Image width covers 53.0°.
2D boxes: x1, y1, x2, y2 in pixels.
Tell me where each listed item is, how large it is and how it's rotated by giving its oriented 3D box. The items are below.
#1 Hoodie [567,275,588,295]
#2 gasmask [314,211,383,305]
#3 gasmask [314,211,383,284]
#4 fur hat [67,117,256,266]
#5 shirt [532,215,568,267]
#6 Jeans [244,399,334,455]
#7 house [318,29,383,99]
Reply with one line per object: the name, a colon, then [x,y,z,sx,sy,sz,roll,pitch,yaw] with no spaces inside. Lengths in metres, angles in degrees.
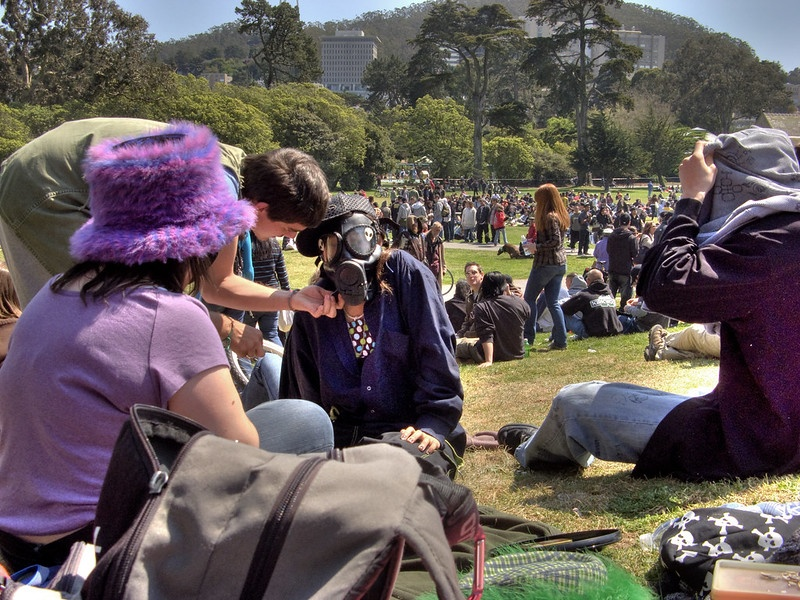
Hoodie: [2.688,-0.217,12.189,0.236,0.203,0.318,-7,-18,2]
gasmask: [-0.212,-0.197,3.817,0.298,0.428,0.413,-3,4,7]
gasmask: [-0.236,-0.322,3.980,0.330,0.285,0.359,-14,13,-22]
fur hat: [-0.812,-0.334,2.731,0.476,0.301,0.490,-20,12,-5]
shirt: [1.945,-0.701,10.553,0.492,0.856,0.818,0,2,10]
Jeans: [-0.430,0.501,3.194,0.278,0.106,0.215,17,19,-4]
house: [-14.735,-66.193,221.818,14.153,17.259,7.537,0,5,-7]
